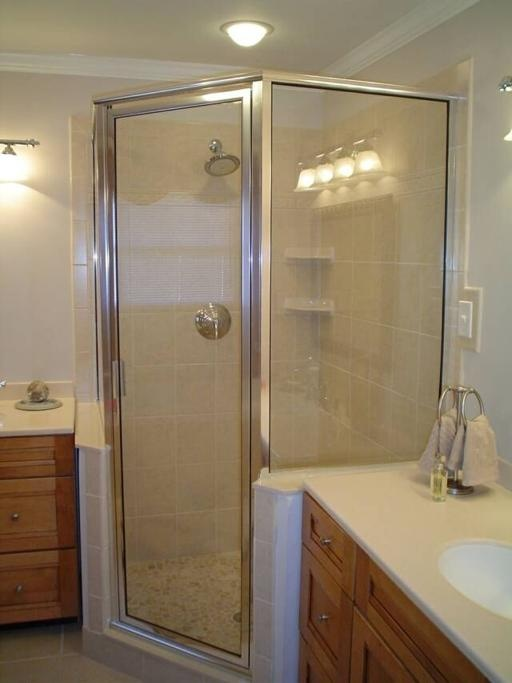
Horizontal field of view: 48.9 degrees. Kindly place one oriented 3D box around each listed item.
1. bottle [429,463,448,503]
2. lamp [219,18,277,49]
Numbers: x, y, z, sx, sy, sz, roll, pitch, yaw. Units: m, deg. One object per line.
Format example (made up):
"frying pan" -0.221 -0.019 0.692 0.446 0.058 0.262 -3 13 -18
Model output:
"bottle" 0.482 0.367 1.475 0.038 0.098 0.032 -1 5 10
"lamp" -0.031 -1.088 1.987 0.178 0.037 0.135 -2 6 3
